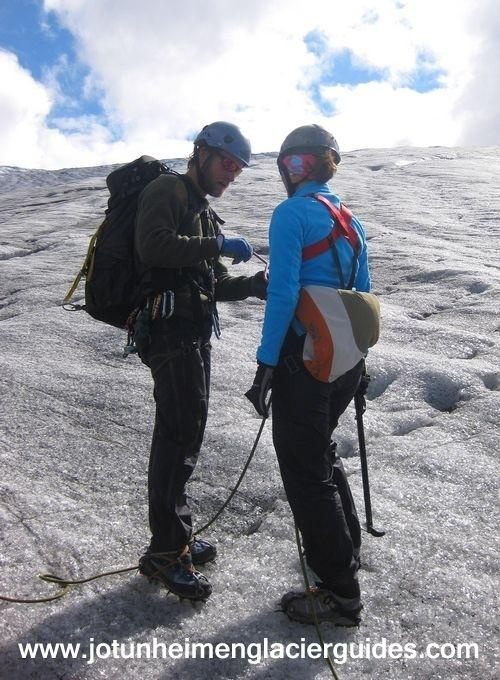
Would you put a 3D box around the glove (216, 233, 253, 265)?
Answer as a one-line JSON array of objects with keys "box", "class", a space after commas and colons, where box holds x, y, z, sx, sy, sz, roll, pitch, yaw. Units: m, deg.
[{"box": [-0.080, -0.434, 2.506, 0.126, 0.073, 0.167, 18, -4, -34], "class": "glove"}]

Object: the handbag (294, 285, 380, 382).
[{"box": [0.348, -0.026, 2.167, 0.380, 0.373, 0.134, -1, 1, -34], "class": "handbag"}]

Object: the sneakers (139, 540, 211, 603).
[{"box": [-0.331, 1.037, 2.428, 0.390, 0.185, 0.154, 5, 7, 27], "class": "sneakers"}]

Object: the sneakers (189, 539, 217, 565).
[{"box": [-0.248, 1.044, 2.567, 0.100, 0.068, 0.163, -1, 19, -40], "class": "sneakers"}]

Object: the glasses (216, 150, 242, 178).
[{"box": [-0.108, -0.911, 2.723, 0.130, 0.042, 0.126, 45, 16, 19], "class": "glasses"}]
